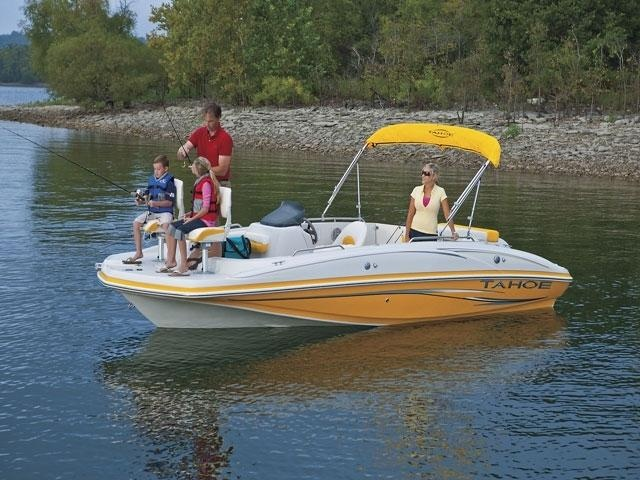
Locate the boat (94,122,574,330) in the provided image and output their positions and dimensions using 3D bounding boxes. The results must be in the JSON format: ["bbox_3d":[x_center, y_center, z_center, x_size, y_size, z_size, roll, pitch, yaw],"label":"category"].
[{"bbox_3d":[-0.179,-0.159,12.303,7.193,1.995,3.267,-2,5,-20],"label":"boat"}]

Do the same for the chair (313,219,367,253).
[{"bbox_3d":[0.372,-0.059,12.340,0.707,0.226,0.444,-12,16,-26],"label":"chair"}]

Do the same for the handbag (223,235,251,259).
[{"bbox_3d":[-1.160,0.117,11.456,0.402,0.272,0.406,5,-9,-43],"label":"handbag"}]

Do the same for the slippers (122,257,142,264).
[{"bbox_3d":[-2.632,0.288,11.426,0.301,0.069,0.096,1,-3,-8],"label":"slippers"}]

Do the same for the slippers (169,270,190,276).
[{"bbox_3d":[-1.868,0.450,10.879,0.258,0.049,0.078,3,-3,-16],"label":"slippers"}]

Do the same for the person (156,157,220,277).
[{"bbox_3d":[-1.748,-0.319,10.961,0.882,1.567,0.510,-4,10,-11],"label":"person"}]

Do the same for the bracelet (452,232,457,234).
[{"bbox_3d":[1.965,-0.104,12.063,0.044,0.021,0.068,0,3,15],"label":"bracelet"}]
